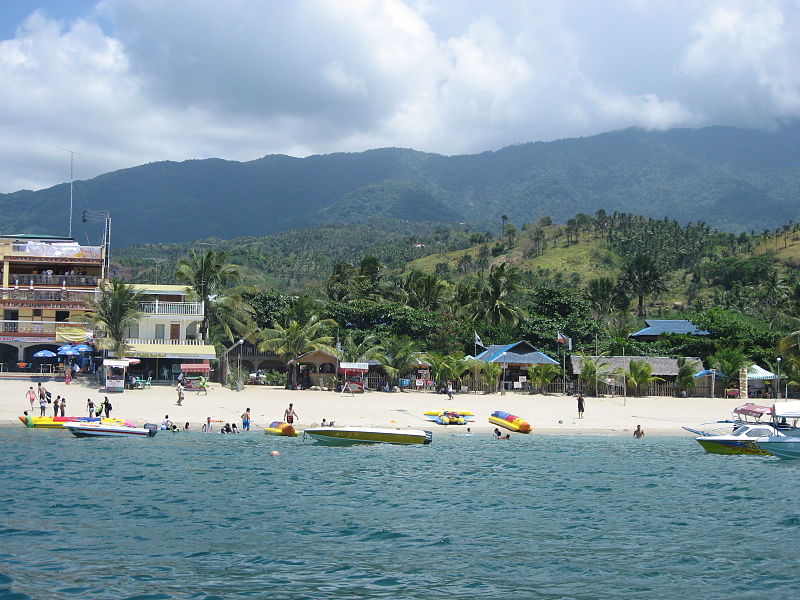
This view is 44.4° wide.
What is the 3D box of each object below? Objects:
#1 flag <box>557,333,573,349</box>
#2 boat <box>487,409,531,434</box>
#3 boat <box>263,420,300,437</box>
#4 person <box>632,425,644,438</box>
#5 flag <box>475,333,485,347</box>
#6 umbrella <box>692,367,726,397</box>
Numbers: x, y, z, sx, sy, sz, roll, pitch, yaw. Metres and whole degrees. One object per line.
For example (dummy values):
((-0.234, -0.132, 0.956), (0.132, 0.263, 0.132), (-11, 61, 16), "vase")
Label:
((16.033, 4.023, 95.654), (0.916, 1.624, 1.639), (-5, -6, 11), "flag")
((7.722, 8.668, 69.460), (1.084, 1.004, 4.001), (-1, 6, -26), "boat")
((-7.937, 8.613, 65.004), (1.496, 0.501, 1.176), (5, -4, 21), "boat")
((16.490, 9.150, 67.907), (0.683, 1.245, 0.438), (0, -7, 8), "person")
((8.084, 4.112, 99.708), (1.498, 2.021, 0.212), (4, -10, -44), "flag")
((28.358, 7.806, 89.394), (3.154, 3.234, 2.324), (1, 6, -10), "umbrella")
